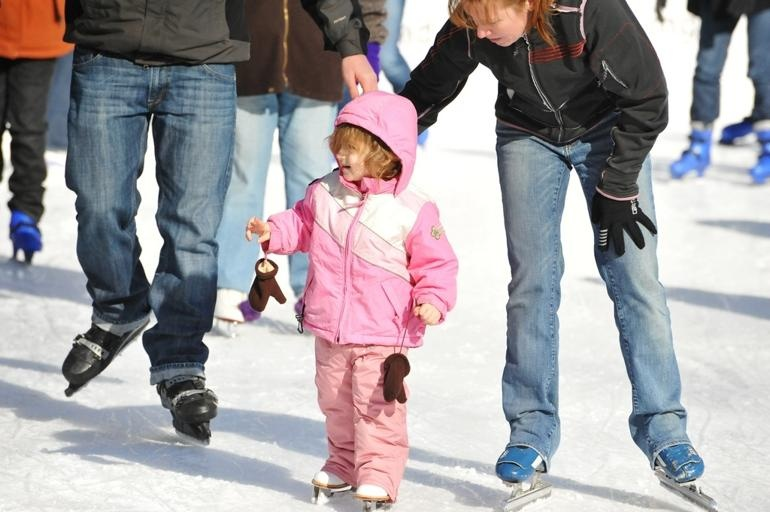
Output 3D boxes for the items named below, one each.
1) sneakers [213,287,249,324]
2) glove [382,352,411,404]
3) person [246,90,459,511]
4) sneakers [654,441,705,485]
[{"bbox_3d":[-0.917,0.294,5.982,0.175,0.193,0.198,1,-10,-4],"label":"sneakers"},{"bbox_3d":[0.043,0.507,4.082,0.064,0.177,0.140,5,-1,-31],"label":"glove"},{"bbox_3d":[-0.108,0.180,4.275,0.778,1.734,0.437,15,14,37],"label":"person"},{"bbox_3d":[1.264,0.897,4.317,0.148,0.088,0.228,-19,34,-19],"label":"sneakers"}]
